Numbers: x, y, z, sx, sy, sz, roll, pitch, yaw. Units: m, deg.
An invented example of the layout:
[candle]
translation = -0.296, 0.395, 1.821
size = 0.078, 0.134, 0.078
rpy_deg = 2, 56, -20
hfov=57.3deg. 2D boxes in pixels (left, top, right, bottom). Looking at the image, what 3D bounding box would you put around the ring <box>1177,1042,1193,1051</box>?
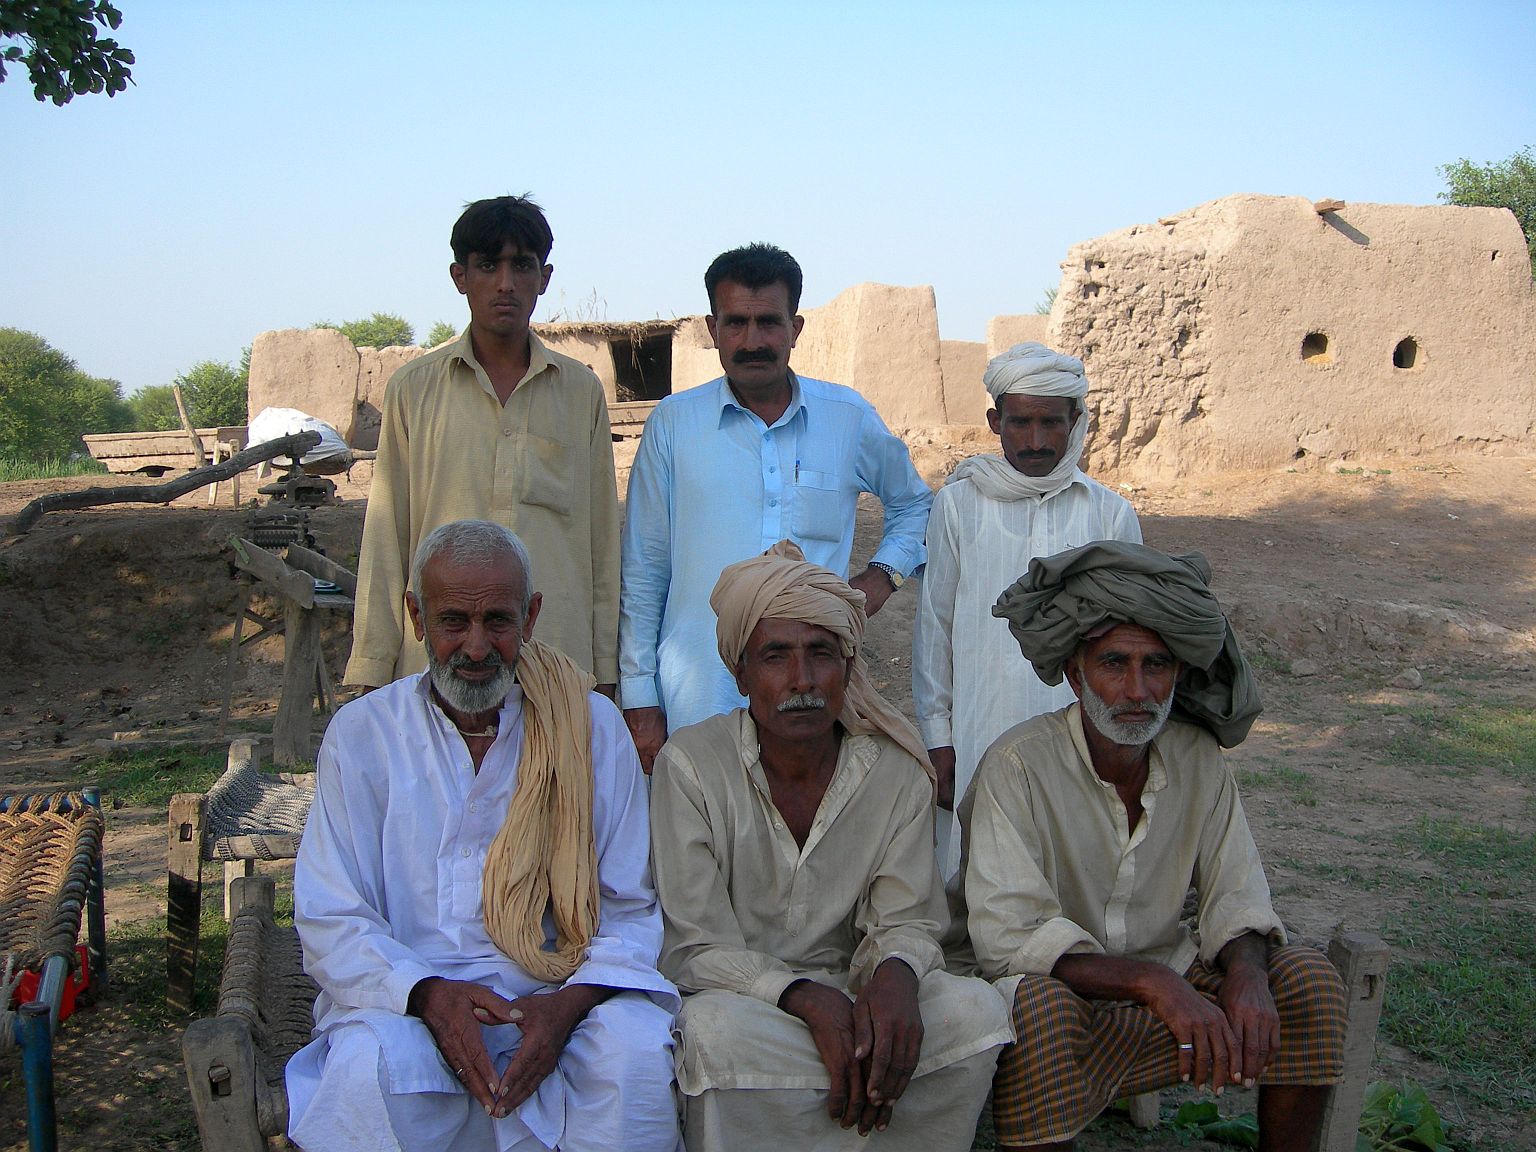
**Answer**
[ring]
translation = 1.335, 1.479, 4.505
size = 0.030, 0.018, 0.042
rpy_deg = 3, -12, -8
